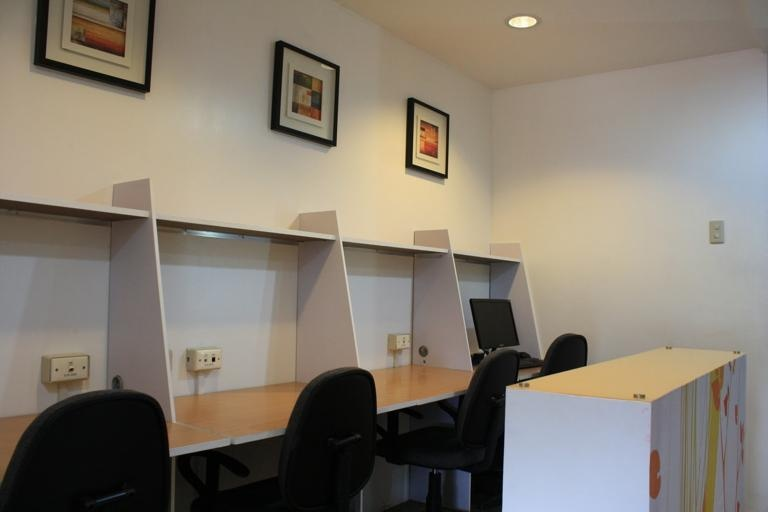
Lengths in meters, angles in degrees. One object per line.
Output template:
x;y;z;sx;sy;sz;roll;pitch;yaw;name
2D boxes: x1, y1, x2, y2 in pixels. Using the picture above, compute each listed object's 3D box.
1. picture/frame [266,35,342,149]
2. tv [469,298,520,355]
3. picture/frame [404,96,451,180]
-0.538;-1.037;3.534;0.053;0.742;0.715;-5;-9;41;picture/frame
0.893;0.542;4.437;0.057;0.401;0.544;-18;-15;42;tv
0.333;-0.930;4.390;0.068;0.659;0.653;-4;-7;38;picture/frame
